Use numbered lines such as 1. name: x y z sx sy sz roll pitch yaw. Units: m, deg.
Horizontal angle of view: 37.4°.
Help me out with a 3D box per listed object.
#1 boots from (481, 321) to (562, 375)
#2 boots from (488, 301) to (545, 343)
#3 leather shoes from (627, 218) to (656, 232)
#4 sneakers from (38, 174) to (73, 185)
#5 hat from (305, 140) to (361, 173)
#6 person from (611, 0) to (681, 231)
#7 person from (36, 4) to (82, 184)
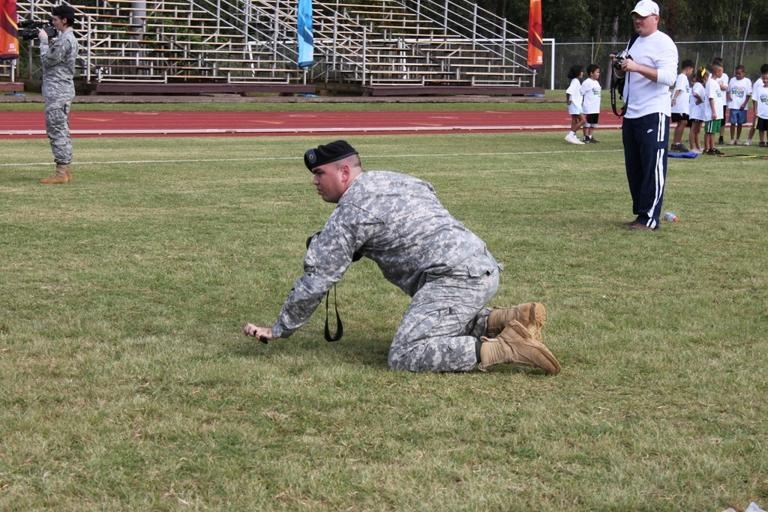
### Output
1. boots: 1.109 0.742 9.157 0.711 0.381 0.447 1 8 7
2. boots: 1.097 0.552 9.280 0.531 0.329 0.344 2 8 41
3. leather shoes: 2.851 -0.335 12.643 0.340 0.135 0.117 1 7 11
4. sneakers: -4.215 -0.990 14.641 0.381 0.238 0.141 1 6 -12
5. hat: -0.423 -0.813 9.117 0.339 0.125 0.252 -15 5 7
6. person: 2.867 -1.551 12.574 0.662 2.490 0.557 3 12 13
7. person: -4.184 -2.080 14.642 0.521 2.248 0.729 -3 12 -14
